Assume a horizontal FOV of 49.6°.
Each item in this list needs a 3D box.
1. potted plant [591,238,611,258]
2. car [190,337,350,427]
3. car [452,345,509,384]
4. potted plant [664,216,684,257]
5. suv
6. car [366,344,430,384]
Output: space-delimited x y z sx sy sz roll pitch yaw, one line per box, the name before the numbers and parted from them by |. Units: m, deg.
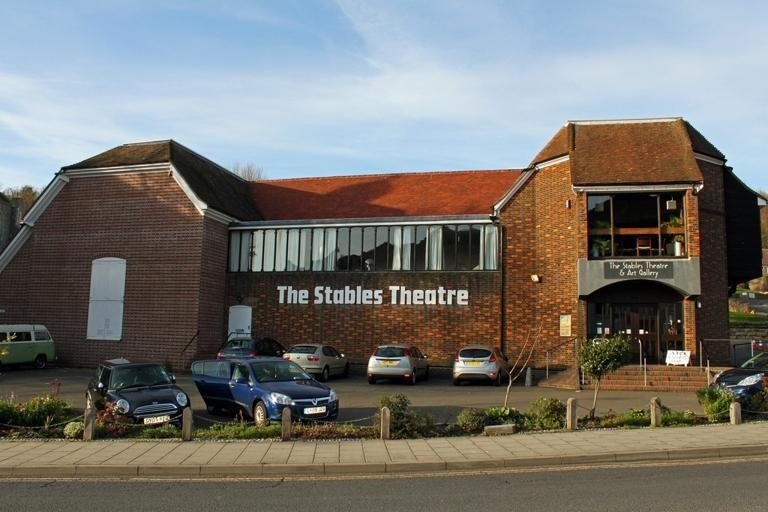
potted plant | 10.597 -0.390 40.774 0.985 0.852 0.956 2 -4 -44
car | -4.200 4.685 29.306 4.959 1.927 2.246 8 14 39
car | 4.469 5.045 37.248 2.585 1.907 1.568 -8 13 -35
potted plant | 14.002 -0.977 40.089 0.868 1.760 2.101 2 11 10
suv | -8.515 4.769 28.875 2.604 1.762 3.365 -8 13 -36
car | 0.791 4.871 38.029 1.653 1.014 2.628 -2 -3 16
